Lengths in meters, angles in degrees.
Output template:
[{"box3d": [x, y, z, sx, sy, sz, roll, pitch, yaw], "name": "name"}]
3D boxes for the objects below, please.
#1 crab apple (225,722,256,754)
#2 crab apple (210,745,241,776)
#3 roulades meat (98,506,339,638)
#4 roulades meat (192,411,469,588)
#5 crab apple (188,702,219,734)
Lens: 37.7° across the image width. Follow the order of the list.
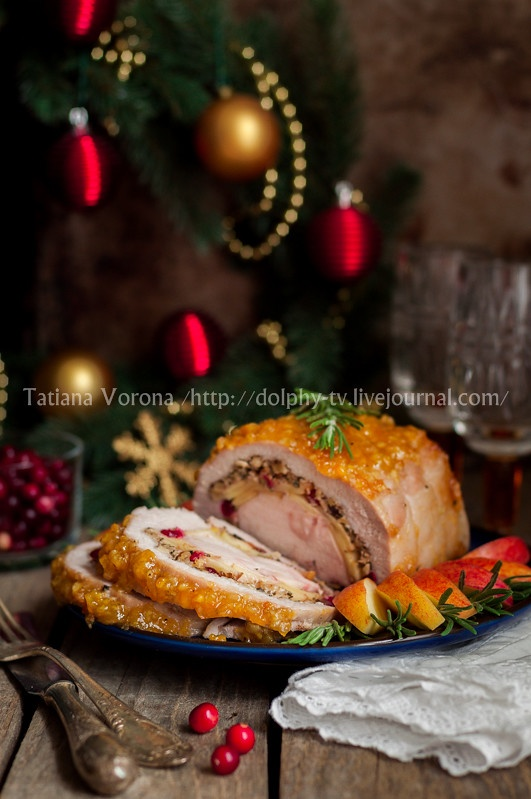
[{"box3d": [-0.027, 0.365, 0.841, 0.030, 0.029, 0.028, 3, 78, -3], "name": "crab apple"}, {"box3d": [-0.042, 0.371, 0.802, 0.028, 0.026, 0.029, 3, 77, -2], "name": "crab apple"}, {"box3d": [-0.054, 0.256, 1.085, 0.278, 0.299, 0.073, 17, 90, 32], "name": "roulades meat"}, {"box3d": [0.104, 0.142, 1.259, 0.374, 0.214, 0.228, 16, 29, 32], "name": "roulades meat"}, {"box3d": [-0.069, 0.357, 0.871, 0.026, 0.032, 0.024, 21, 90, -4], "name": "crab apple"}]
